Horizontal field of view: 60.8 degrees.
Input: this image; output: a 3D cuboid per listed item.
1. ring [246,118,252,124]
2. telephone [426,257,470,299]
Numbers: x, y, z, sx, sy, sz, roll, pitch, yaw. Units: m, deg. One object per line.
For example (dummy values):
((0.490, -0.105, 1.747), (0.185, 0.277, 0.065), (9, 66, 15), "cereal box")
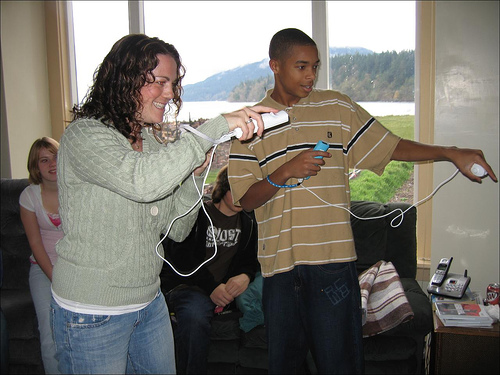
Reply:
((0.003, -0.246, 1.594), (0.017, 0.020, 0.035), (2, 8, 14), "ring")
((1.259, 0.585, 2.726), (0.261, 0.114, 0.367), (-12, 16, 12), "telephone")
